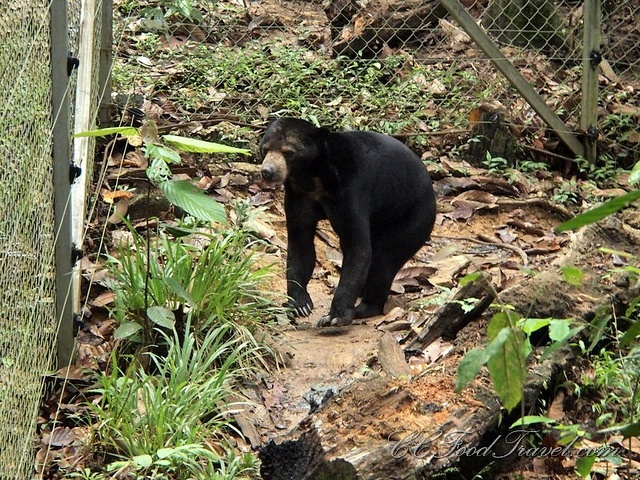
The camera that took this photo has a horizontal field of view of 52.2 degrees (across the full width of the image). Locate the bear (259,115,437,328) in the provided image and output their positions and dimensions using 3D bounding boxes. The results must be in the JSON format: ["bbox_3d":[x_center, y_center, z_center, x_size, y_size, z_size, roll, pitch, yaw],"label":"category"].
[{"bbox_3d":[0.160,-0.129,5.706,1.027,1.683,2.104,10,9,39],"label":"bear"}]
